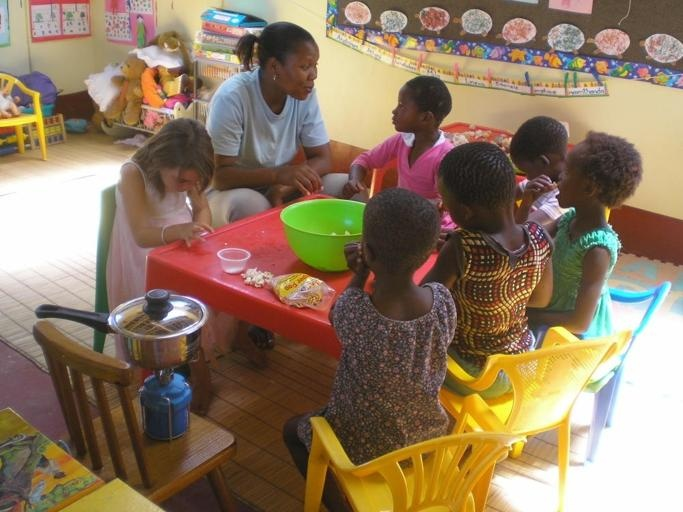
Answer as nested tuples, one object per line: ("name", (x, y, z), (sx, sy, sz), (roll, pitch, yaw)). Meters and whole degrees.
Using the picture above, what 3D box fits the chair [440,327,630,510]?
("chair", (0.588, 0.409, 1.741), (0.448, 0.611, 0.446), (-15, 40, -16))

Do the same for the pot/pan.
("pot/pan", (-0.552, 0.186, 1.403), (0.394, 0.149, 0.219), (1, 24, -12))

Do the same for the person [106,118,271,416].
("person", (-0.713, -0.044, 2.440), (0.729, 1.146, 0.549), (19, 26, 36))

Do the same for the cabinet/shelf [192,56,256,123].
("cabinet/shelf", (-1.199, -1.648, 5.601), (0.623, 0.756, 0.505), (7, 7, 27))

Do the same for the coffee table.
("coffee table", (-0.293, 0.038, 1.951), (0.726, 0.302, 0.733), (32, 38, 28))

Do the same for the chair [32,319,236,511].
("chair", (-0.589, 0.471, 1.520), (0.359, 0.607, 0.372), (-30, 55, -35))

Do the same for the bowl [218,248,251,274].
("bowl", (-0.394, 0.002, 1.909), (0.099, 0.046, 0.097), (4, 30, -2))
